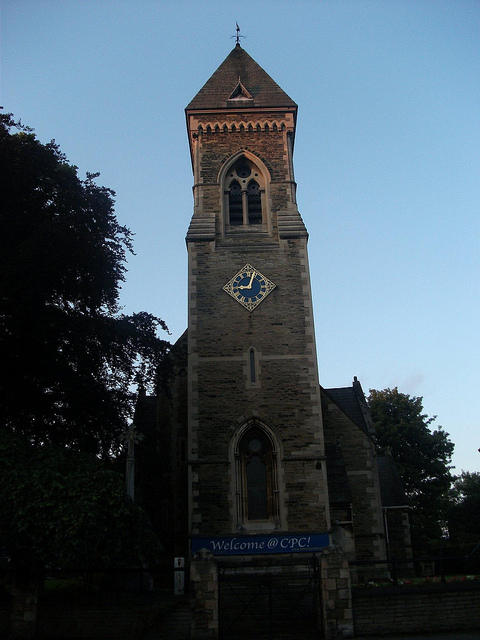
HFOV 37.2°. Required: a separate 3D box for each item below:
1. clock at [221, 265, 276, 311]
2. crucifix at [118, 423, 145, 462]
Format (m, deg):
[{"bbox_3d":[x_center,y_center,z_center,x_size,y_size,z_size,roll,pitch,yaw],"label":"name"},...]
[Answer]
[{"bbox_3d":[0.275,-1.034,24.189,1.750,1.689,0.097,0,-32,-4],"label":"clock"},{"bbox_3d":[-3.427,3.749,21.957,0.833,1.396,0.922,10,-26,-26],"label":"crucifix"}]
